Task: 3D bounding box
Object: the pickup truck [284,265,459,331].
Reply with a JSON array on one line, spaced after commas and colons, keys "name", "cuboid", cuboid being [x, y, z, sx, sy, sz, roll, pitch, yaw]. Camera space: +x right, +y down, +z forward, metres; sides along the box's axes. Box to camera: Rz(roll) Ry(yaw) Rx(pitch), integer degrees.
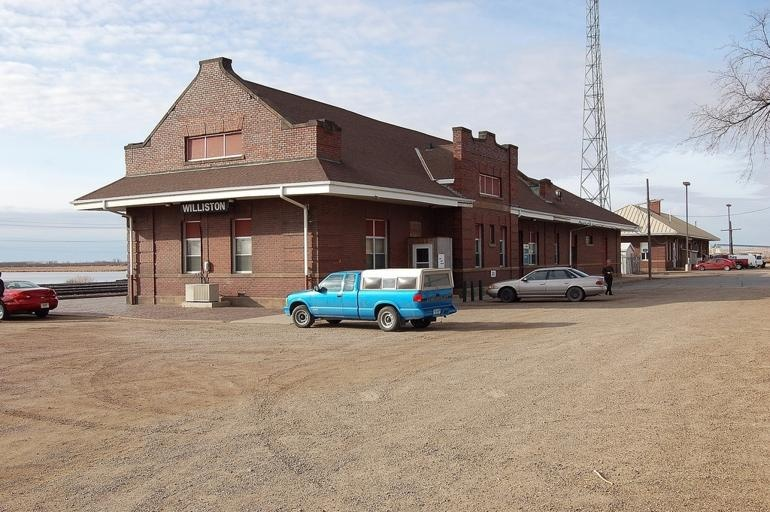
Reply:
[{"name": "pickup truck", "cuboid": [-0.450, 1.426, 19.772, 4.819, 1.676, 2.414, 2, 1, 25]}]
